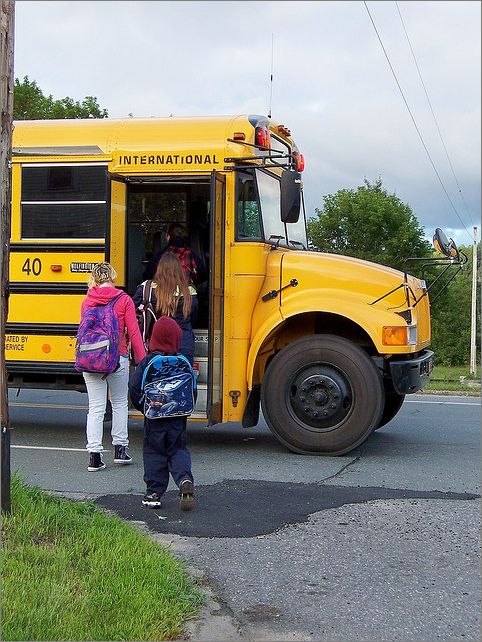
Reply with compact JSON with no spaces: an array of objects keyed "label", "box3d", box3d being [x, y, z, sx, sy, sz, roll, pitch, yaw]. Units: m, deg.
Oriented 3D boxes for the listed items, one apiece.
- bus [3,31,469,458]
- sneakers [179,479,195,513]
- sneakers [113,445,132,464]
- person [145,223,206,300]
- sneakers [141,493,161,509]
[{"label":"bus","box3d":[-0.317,-0.365,6.667,3.931,2.894,2.109,4,-1,14]},{"label":"sneakers","box3d":[-0.321,1.051,4.437,0.082,0.203,0.098,-2,0,-9]},{"label":"sneakers","box3d":[-0.965,1.095,6.008,0.087,0.139,0.229,2,2,24]},{"label":"person","box3d":[-0.537,-0.539,6.854,0.701,0.946,0.635,0,11,-6]},{"label":"sneakers","box3d":[-0.557,1.119,4.541,0.058,0.068,0.139,1,3,-30]}]
